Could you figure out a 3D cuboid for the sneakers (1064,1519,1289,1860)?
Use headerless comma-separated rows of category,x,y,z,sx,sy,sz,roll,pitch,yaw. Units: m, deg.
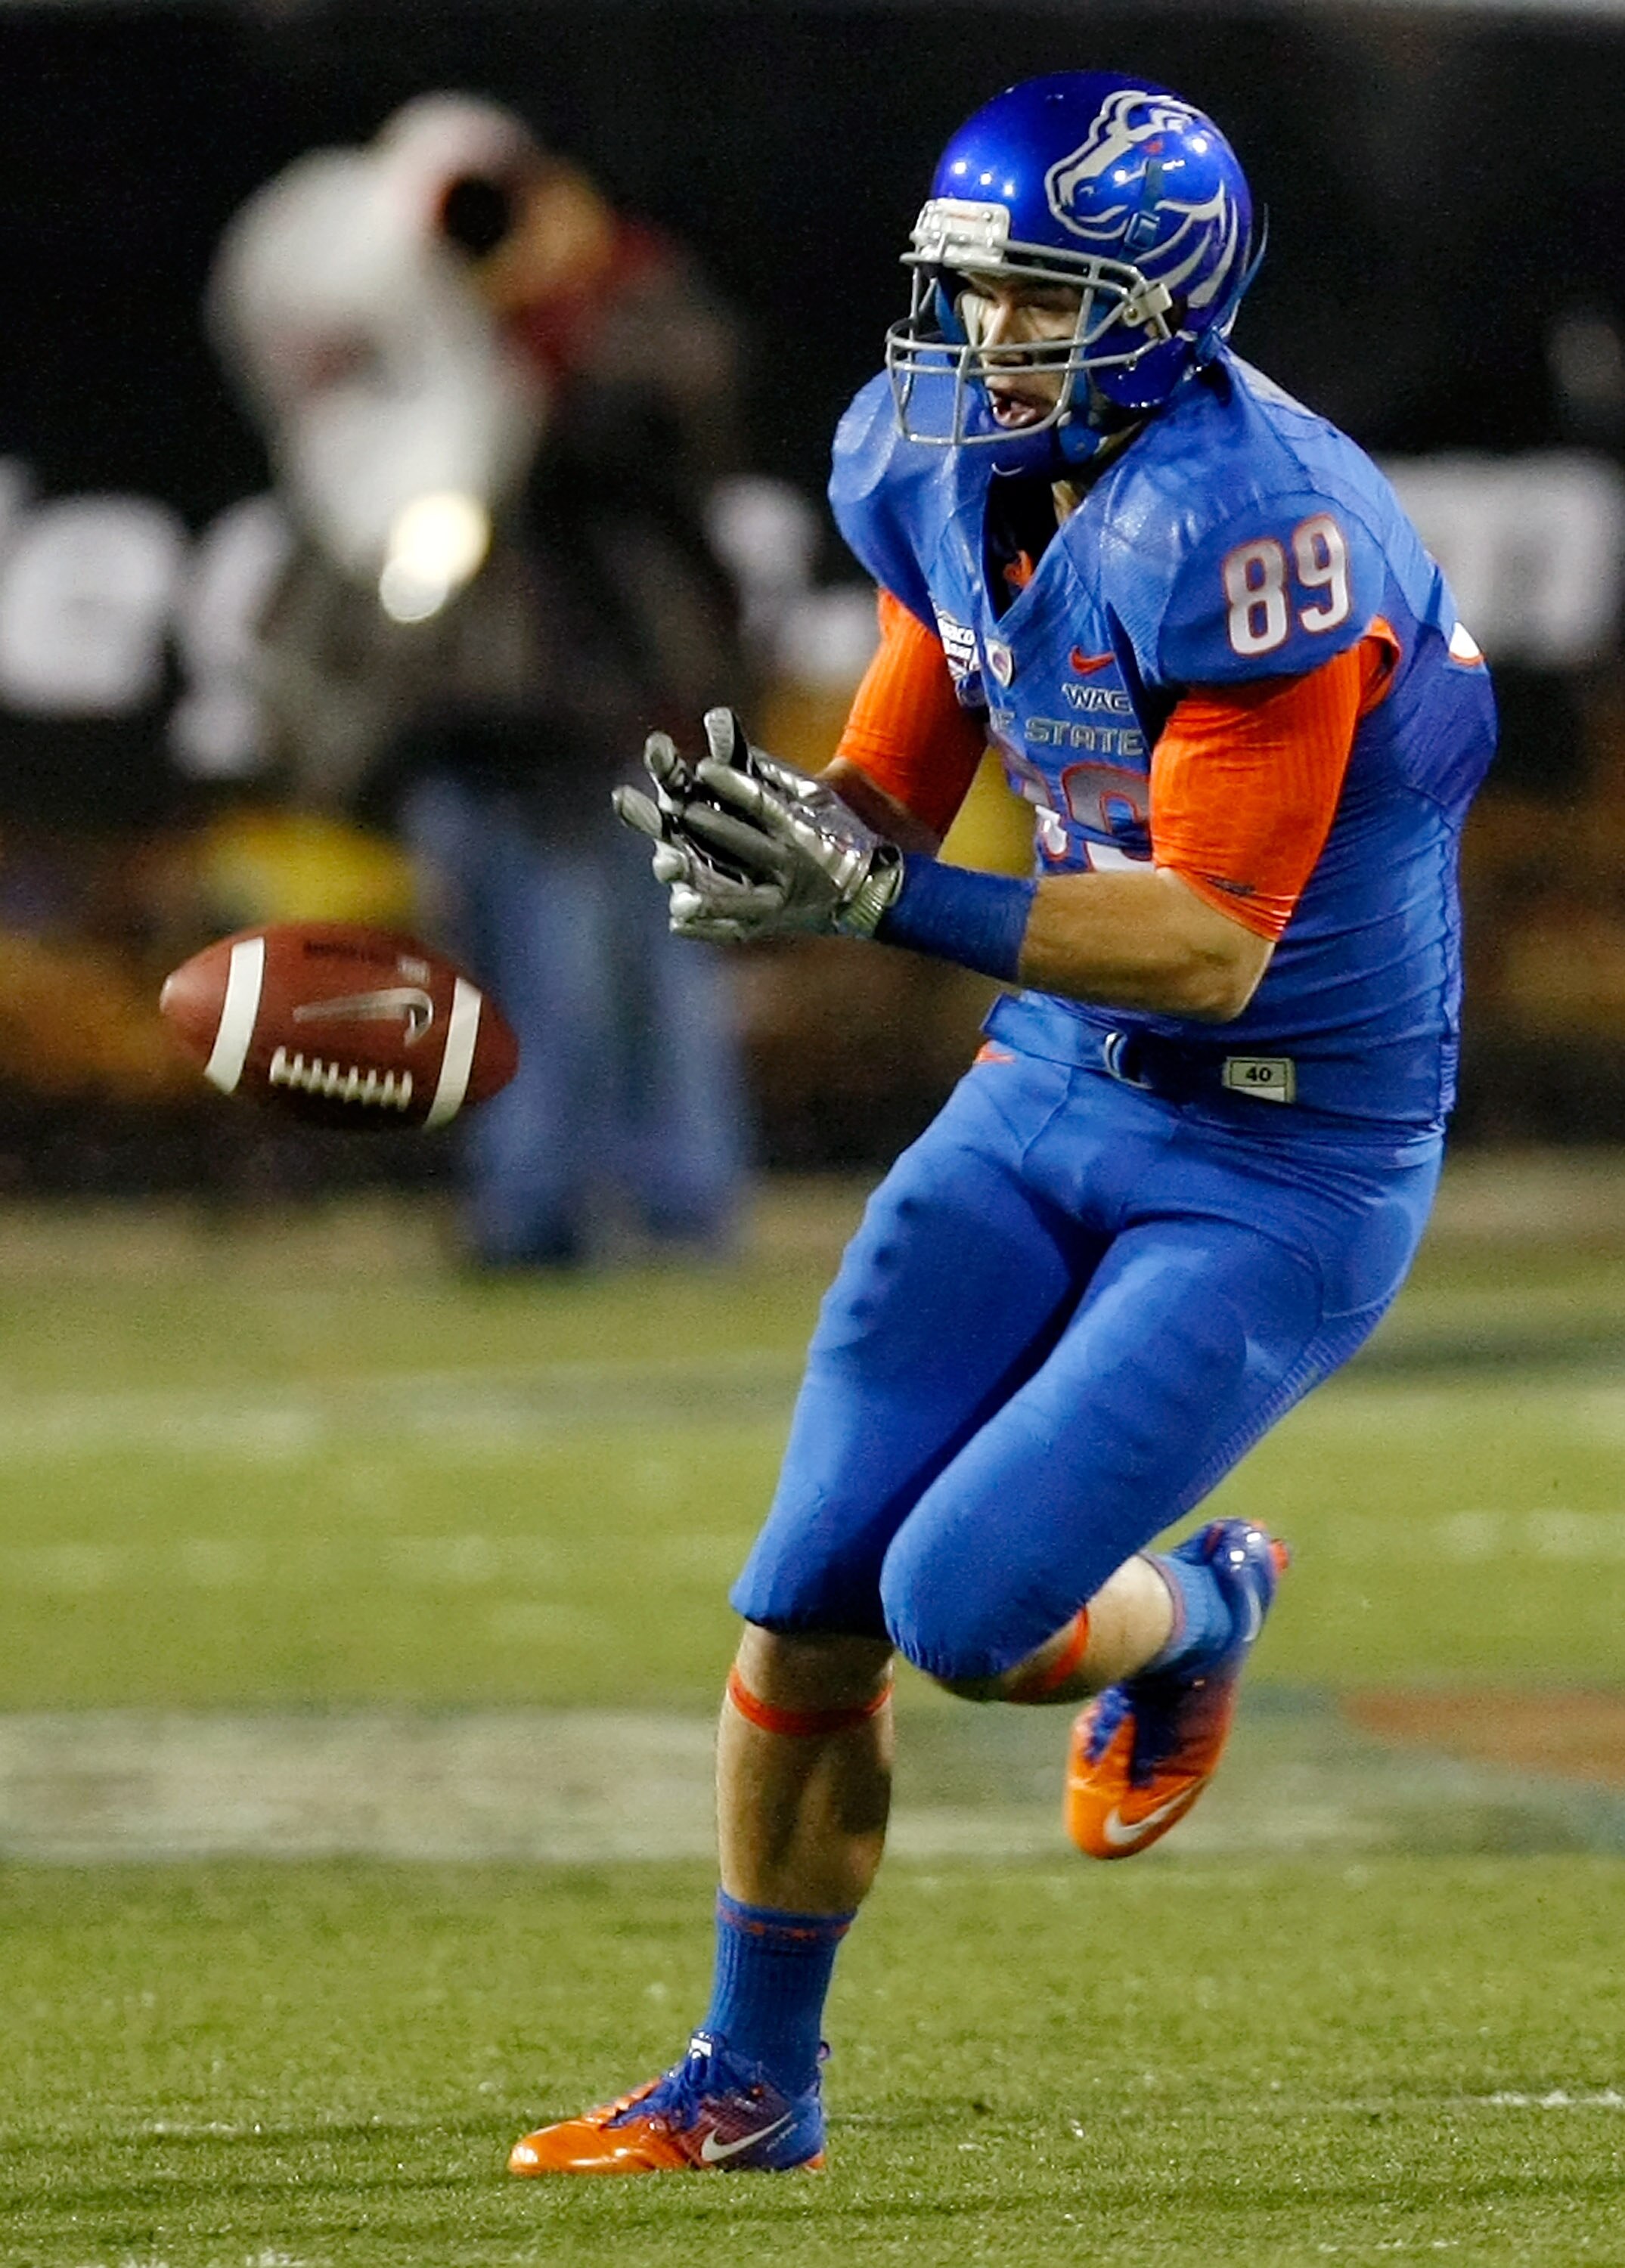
sneakers,0.315,0.484,2.661,0.140,0.321,0.151,32,-5,16

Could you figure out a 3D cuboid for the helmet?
helmet,0.100,-0.644,2.292,0.374,0.274,0.281,-17,24,-36

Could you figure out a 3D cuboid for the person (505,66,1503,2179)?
person,0.116,-0.078,2.393,0.715,1.509,0.704,6,9,43

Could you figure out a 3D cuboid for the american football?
american football,-0.369,-0.084,2.407,0.284,0.124,0.145,9,22,-12

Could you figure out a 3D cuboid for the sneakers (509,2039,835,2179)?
sneakers,-0.101,0.685,2.153,0.225,0.076,0.076,0,11,-12

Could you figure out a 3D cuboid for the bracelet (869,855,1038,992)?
bracelet,0.109,-0.156,2.212,0.121,0.083,0.104,5,11,14
